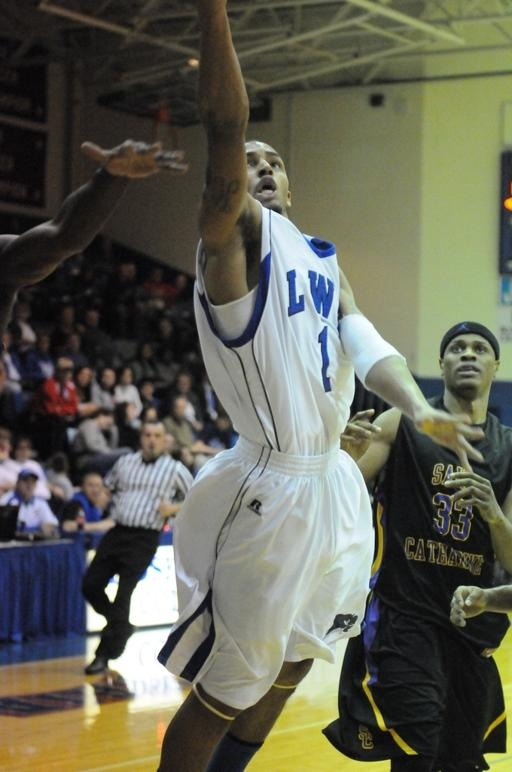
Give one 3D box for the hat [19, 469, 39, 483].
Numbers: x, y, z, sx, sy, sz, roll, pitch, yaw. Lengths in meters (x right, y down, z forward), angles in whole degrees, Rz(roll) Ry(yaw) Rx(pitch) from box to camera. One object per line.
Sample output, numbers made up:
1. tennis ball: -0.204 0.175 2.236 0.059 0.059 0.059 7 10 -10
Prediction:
1. hat: -1.889 0.768 8.054 0.121 0.097 0.124 -32 28 -7
